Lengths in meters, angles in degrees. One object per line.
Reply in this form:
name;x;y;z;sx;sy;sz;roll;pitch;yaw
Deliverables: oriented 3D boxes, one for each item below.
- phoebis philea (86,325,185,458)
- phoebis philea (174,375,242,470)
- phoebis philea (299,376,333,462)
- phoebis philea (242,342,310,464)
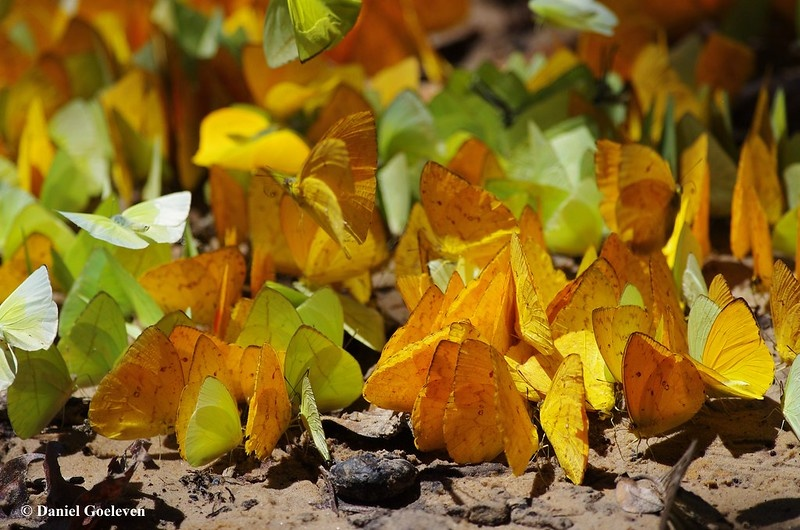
phoebis philea;-0.659;0.322;2.460;0.233;0.287;0.183;10;-17;-18
phoebis philea;-0.442;0.372;2.441;0.165;0.200;0.189;-19;5;-1
phoebis philea;-0.218;0.382;2.467;0.067;0.225;0.195;-7;17;-7
phoebis philea;-0.313;0.352;2.493;0.182;0.221;0.170;-9;51;-5
